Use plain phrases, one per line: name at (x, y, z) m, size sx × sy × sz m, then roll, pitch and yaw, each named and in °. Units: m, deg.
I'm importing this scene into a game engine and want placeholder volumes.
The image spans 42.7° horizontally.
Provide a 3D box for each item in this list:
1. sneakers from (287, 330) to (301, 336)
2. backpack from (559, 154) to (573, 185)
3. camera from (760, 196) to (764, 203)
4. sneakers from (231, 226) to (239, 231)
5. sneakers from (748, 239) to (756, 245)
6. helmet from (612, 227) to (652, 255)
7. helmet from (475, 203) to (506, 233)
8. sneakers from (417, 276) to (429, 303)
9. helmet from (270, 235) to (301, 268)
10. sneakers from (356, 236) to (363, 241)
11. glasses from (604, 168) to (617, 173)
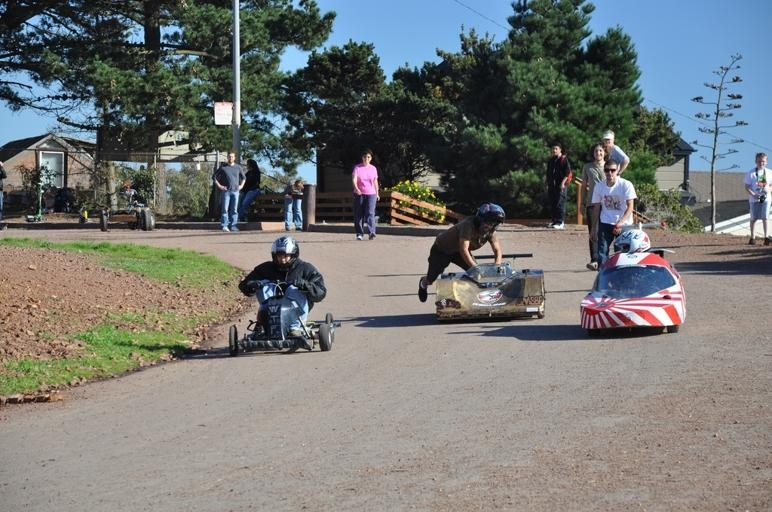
sneakers at (-1.431, 1.210, 15.472) m, size 0.130 × 0.109 × 0.126 m, roll 1°, pitch 1°, yaw -7°
backpack at (4.960, -2.361, 27.547) m, size 0.221 × 0.882 × 0.916 m, roll 0°, pitch 14°, yaw 13°
camera at (9.260, -1.395, 24.471) m, size 0.158 × 0.193 × 0.054 m, roll 3°, pitch 15°, yaw 25°
sneakers at (-4.816, -0.838, 31.335) m, size 0.100 × 0.219 × 0.305 m, roll -16°, pitch 2°, yaw -30°
sneakers at (9.196, -0.351, 25.020) m, size 0.122 × 0.145 × 0.128 m, roll 12°, pitch 30°, yaw 40°
helmet at (4.055, -0.225, 16.508) m, size 0.536 × 0.456 × 0.419 m, roll 5°, pitch -12°, yaw 13°
helmet at (1.822, -0.691, 17.054) m, size 0.411 × 0.511 × 0.569 m, roll -2°, pitch -27°, yaw -24°
sneakers at (0.654, 0.637, 18.301) m, size 0.152 × 0.493 × 0.201 m, roll 0°, pitch -8°, yaw 3°
helmet at (-1.627, -0.082, 15.746) m, size 0.366 × 0.448 × 0.503 m, roll -3°, pitch 19°, yaw 9°
sneakers at (-0.773, -0.469, 27.187) m, size 0.097 × 0.139 × 0.330 m, roll -2°, pitch 10°, yaw -4°
glasses at (4.067, -1.559, 18.081) m, size 0.192 × 0.105 × 0.135 m, roll 1°, pitch 15°, yaw 18°
